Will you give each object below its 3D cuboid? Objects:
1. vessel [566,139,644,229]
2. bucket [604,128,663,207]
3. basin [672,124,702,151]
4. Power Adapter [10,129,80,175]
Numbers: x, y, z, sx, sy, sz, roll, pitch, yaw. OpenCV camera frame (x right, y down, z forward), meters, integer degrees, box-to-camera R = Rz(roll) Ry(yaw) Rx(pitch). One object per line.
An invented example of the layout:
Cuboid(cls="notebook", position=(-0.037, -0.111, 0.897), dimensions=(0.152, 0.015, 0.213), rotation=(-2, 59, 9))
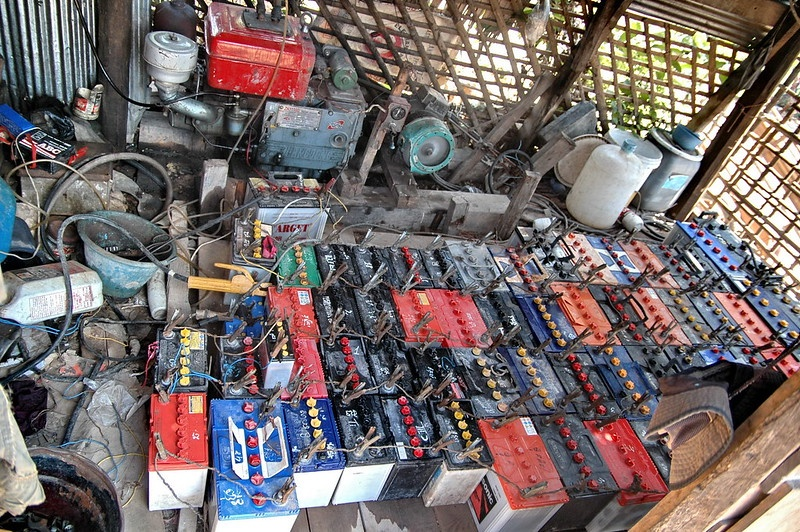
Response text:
Cuboid(cls="vessel", position=(2.828, -1.125, 7.274), dimensions=(0.726, 1.127, 0.723), rotation=(34, 45, 1))
Cuboid(cls="bucket", position=(3.262, -1.364, 7.363), dimensions=(0.796, 0.764, 0.804), rotation=(12, 40, -10))
Cuboid(cls="basin", position=(4.195, -1.813, 7.741), dimensions=(0.387, 0.235, 0.396), rotation=(26, 26, -14))
Cuboid(cls="Power Adapter", position=(-3.282, -1.059, 4.899), dimensions=(0.517, 0.285, 0.377), rotation=(-2, 39, -31))
